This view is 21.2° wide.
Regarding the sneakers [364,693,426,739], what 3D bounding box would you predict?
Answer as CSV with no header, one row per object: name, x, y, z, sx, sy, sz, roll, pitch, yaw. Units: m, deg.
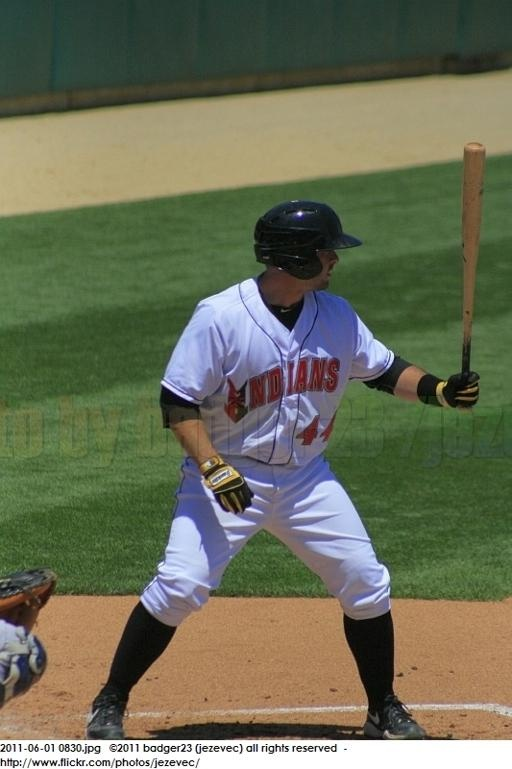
sneakers,0.559,1.379,5.540,0.118,0.132,0.303,6,-13,-27

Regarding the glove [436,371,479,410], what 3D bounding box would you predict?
glove,0.836,0.027,5.715,0.180,0.131,0.086,-16,17,15

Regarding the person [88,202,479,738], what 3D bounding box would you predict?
person,0.064,0.348,5.573,1.385,2.197,0.576,2,4,2

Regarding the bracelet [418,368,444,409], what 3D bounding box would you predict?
bracelet,0.724,0.023,5.761,0.119,0.124,0.131,-2,5,15

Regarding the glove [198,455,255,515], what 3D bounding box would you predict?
glove,-0.131,0.409,5.375,0.161,0.215,0.085,-37,-9,-27

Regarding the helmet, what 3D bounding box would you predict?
helmet,0.208,-0.592,5.544,0.397,0.277,0.305,3,9,16
